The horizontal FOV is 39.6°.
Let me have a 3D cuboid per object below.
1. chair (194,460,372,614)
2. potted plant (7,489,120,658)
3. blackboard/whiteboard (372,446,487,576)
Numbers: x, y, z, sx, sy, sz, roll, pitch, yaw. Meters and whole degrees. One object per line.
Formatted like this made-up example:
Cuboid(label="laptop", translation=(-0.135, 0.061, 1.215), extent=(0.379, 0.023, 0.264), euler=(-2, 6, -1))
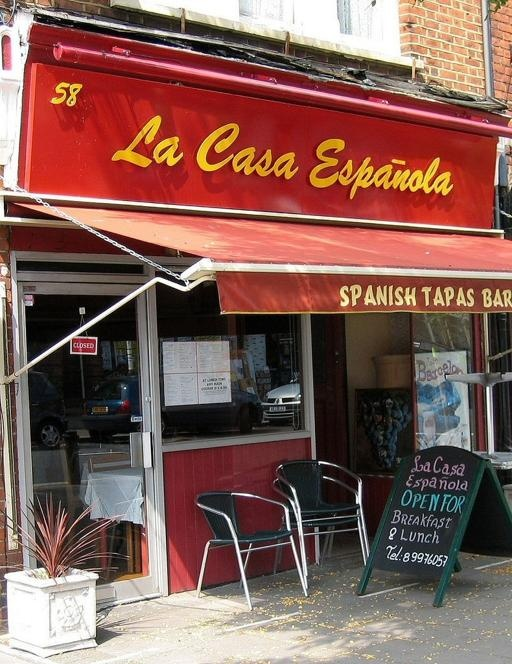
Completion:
Cuboid(label="chair", translation=(0.170, 1.709, 5.867), extent=(1.294, 0.714, 0.589), euler=(0, -6, -39))
Cuboid(label="potted plant", translation=(-1.187, 1.523, 4.659), extent=(0.813, 0.902, 0.824), euler=(-3, -4, 42))
Cuboid(label="blackboard/whiteboard", translation=(1.227, 1.302, 5.211), extent=(0.508, 0.890, 0.760), euler=(3, -11, -33))
